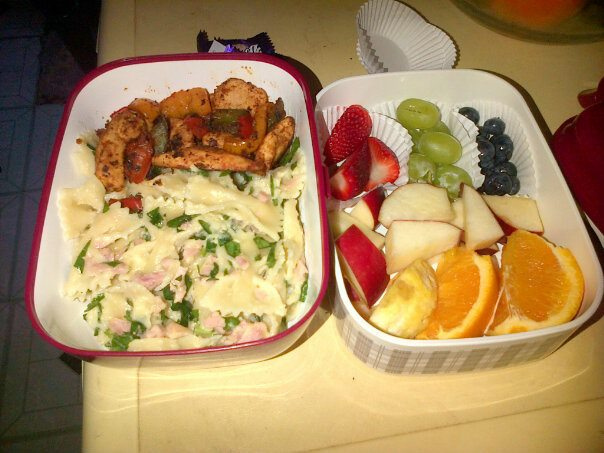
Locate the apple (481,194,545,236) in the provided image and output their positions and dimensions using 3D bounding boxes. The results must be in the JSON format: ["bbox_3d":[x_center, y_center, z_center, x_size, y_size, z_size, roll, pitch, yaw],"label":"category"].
[{"bbox_3d":[0.856,-0.058,2.086,0.178,0.310,0.146,2,107,-14],"label":"apple"}]

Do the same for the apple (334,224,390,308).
[{"bbox_3d":[0.211,0.167,1.935,0.192,0.251,0.283,-6,33,-14],"label":"apple"}]

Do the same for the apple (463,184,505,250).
[{"bbox_3d":[0.689,-0.021,1.954,0.127,0.085,0.237,-17,73,4],"label":"apple"}]

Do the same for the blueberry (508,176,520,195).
[{"bbox_3d":[0.897,-0.170,2.112,0.041,0.057,0.067,0,85,-28],"label":"blueberry"}]

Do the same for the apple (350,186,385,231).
[{"bbox_3d":[0.272,-0.075,2.098,0.175,0.151,0.121,27,37,36],"label":"apple"}]

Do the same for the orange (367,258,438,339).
[{"bbox_3d":[0.399,0.281,1.842,0.185,0.177,0.332,37,79,7],"label":"orange"}]

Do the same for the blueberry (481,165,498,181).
[{"bbox_3d":[0.795,-0.231,2.132,0.049,0.028,0.062,17,80,13],"label":"blueberry"}]

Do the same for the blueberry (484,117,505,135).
[{"bbox_3d":[0.827,-0.426,2.181,0.079,0.060,0.083,-18,92,2],"label":"blueberry"}]

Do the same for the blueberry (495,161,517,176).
[{"bbox_3d":[0.861,-0.246,2.123,0.063,0.034,0.067,-2,71,18],"label":"blueberry"}]

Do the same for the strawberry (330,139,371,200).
[{"bbox_3d":[0.180,-0.216,2.050,0.172,0.220,0.092,-28,44,-35],"label":"strawberry"}]

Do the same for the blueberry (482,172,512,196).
[{"bbox_3d":[0.813,-0.174,2.089,0.097,0.052,0.097,-47,65,9],"label":"blueberry"}]
